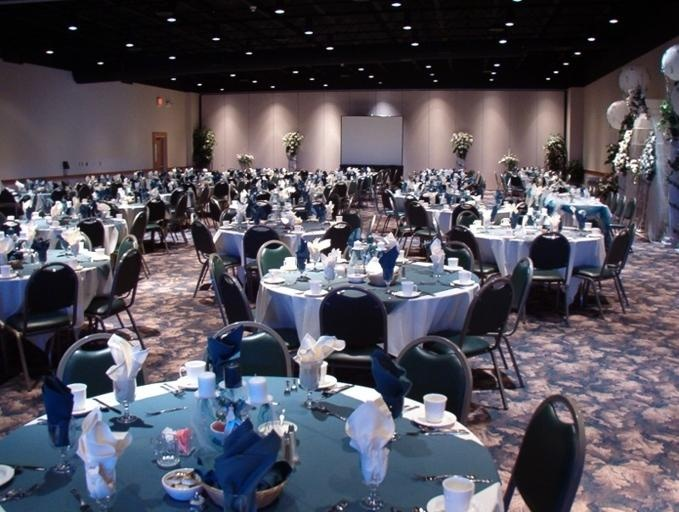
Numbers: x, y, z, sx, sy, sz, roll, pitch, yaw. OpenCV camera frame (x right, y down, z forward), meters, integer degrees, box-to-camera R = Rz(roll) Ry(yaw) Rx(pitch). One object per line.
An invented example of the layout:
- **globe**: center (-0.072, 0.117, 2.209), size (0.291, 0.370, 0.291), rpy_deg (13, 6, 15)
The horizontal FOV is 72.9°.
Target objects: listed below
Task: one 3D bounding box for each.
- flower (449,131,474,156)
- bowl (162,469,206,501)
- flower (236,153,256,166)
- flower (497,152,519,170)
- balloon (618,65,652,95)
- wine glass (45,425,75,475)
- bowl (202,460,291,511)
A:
- **flower**: center (5.671, -5.118, 20.999), size (1.075, 1.205, 1.096), rpy_deg (10, 17, 40)
- **bowl**: center (-0.516, 0.745, 1.506), size (0.115, 0.060, 0.149), rpy_deg (-6, 14, -24)
- **flower**: center (-4.477, -4.594, 21.969), size (0.710, 0.573, 0.761), rpy_deg (0, 5, -1)
- **flower**: center (7.617, -4.316, 20.720), size (0.802, 0.744, 1.261), rpy_deg (4, 13, 19)
- **balloon**: center (7.302, -4.382, 11.404), size (0.608, 0.658, 0.946), rpy_deg (8, 15, 32)
- **wine glass**: center (-0.999, 0.661, 1.652), size (0.069, 0.203, 0.168), rpy_deg (-8, 15, -33)
- **bowl**: center (-0.270, 0.686, 1.396), size (0.182, 0.074, 0.186), rpy_deg (2, -14, 0)
